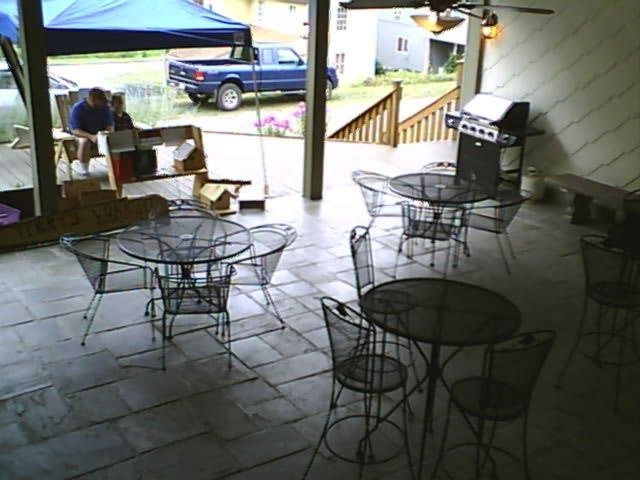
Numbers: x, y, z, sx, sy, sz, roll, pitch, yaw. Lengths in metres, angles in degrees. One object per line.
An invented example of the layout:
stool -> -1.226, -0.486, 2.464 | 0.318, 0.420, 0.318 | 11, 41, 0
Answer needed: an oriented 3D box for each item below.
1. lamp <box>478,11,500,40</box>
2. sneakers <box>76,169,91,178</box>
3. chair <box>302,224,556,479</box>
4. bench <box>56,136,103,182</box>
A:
lamp -> 2.628, -3.376, 8.222 | 0.286, 0.556, 0.282 | 8, 28, 30
sneakers -> -3.721, -1.043, 8.503 | 0.178, 0.085, 0.231 | 2, 15, 0
chair -> 0.778, 0.874, 4.198 | 1.552, 1.189, 1.523 | 2, 29, -1
bench -> -3.810, -1.348, 8.634 | 0.749, 0.458, 0.731 | -7, 36, -23
